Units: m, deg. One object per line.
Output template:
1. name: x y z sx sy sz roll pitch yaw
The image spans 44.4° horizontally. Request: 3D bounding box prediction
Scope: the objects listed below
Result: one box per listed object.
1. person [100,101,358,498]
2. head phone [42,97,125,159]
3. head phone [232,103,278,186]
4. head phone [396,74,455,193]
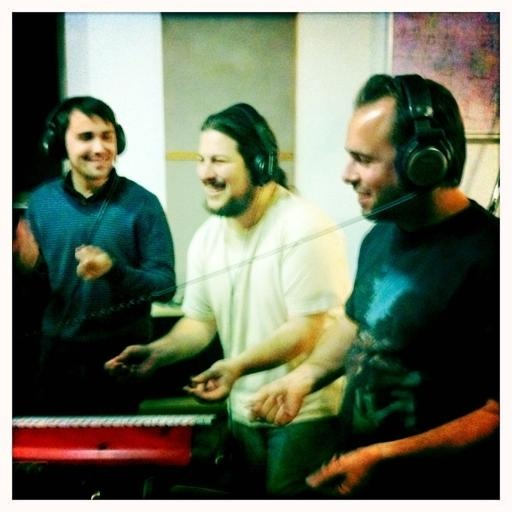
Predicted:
1. person: -0.052 0.108 1.847 0.662 1.348 0.574 -4 3 -27
2. head phone: -0.338 -0.252 1.235 0.166 0.127 0.032 6 11 9
3. head phone: 0.013 -0.219 1.228 0.090 0.126 0.049 26 56 35
4. head phone: 0.333 -0.252 1.274 0.094 0.220 0.236 -6 7 8
